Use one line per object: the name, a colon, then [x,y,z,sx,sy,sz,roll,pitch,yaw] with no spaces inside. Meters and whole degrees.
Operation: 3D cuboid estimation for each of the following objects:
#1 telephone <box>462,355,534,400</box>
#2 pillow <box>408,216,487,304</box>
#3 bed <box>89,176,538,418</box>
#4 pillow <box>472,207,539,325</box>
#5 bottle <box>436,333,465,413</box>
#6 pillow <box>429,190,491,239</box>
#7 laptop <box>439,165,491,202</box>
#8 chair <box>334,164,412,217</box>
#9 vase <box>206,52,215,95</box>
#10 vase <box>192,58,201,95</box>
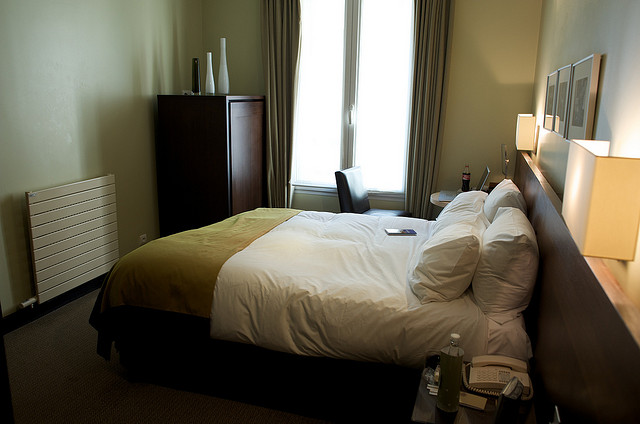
telephone: [0.962,0.898,2.472,0.245,0.087,0.212,6,23,8]
pillow: [0.932,0.321,3.381,0.493,0.481,1.198,1,8,21]
bed: [0.073,0.536,3.299,2.111,1.041,2.041,4,14,15]
pillow: [1.232,0.238,3.266,0.362,0.640,1.089,-6,19,8]
bottle: [0.665,0.825,2.322,0.101,0.389,0.102,1,16,0]
pillow: [1.164,0.058,3.700,0.530,0.395,0.149,29,54,28]
laptop: [1.532,-0.271,4.832,0.435,0.333,0.432,6,19,7]
chair: [0.644,-0.036,5.109,0.705,0.931,0.622,-2,12,20]
vase: [-1.214,-1.519,4.997,0.076,0.434,0.124,2,16,5]
vase: [-1.340,-1.459,4.897,0.082,0.370,0.167,-4,17,-16]
